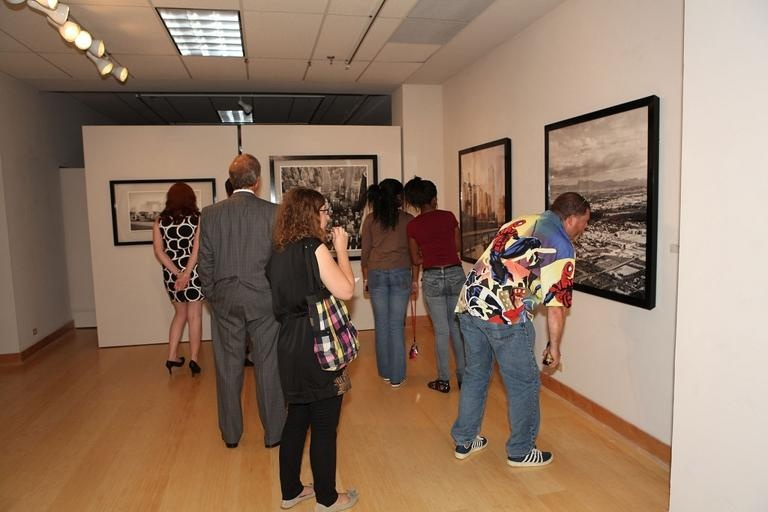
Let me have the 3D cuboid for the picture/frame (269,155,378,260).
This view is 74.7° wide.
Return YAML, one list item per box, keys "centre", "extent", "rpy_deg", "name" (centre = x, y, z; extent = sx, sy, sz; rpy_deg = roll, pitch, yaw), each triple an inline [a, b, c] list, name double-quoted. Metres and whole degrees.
- centre: [-0.694, -0.627, 5.618]
  extent: [1.424, 1.565, 0.065]
  rpy_deg: [0, 3, 0]
  name: "picture/frame"

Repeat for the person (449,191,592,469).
- centre: [1.020, 0.635, 4.036]
  extent: [0.951, 2.231, 0.399]
  rpy_deg: [3, 12, 20]
  name: "person"

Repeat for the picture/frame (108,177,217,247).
- centre: [-2.887, -0.546, 6.350]
  extent: [0.888, 0.660, 0.021]
  rpy_deg: [-2, 8, -8]
  name: "picture/frame"

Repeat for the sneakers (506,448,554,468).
- centre: [1.212, 1.680, 4.230]
  extent: [0.388, 0.183, 0.151]
  rpy_deg: [-2, 8, -3]
  name: "sneakers"

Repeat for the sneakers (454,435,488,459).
- centre: [0.765, 1.639, 4.373]
  extent: [0.348, 0.164, 0.127]
  rpy_deg: [-18, 25, -36]
  name: "sneakers"

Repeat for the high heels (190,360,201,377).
- centre: [-2.246, 1.343, 5.982]
  extent: [0.075, 0.113, 0.255]
  rpy_deg: [1, 10, -7]
  name: "high heels"

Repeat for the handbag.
- centre: [-0.370, 0.360, 3.517]
  extent: [0.343, 0.874, 0.249]
  rpy_deg: [-4, 12, -9]
  name: "handbag"

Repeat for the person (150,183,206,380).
- centre: [-2.357, 0.300, 5.925]
  extent: [0.629, 2.281, 0.479]
  rpy_deg: [4, 13, 26]
  name: "person"
